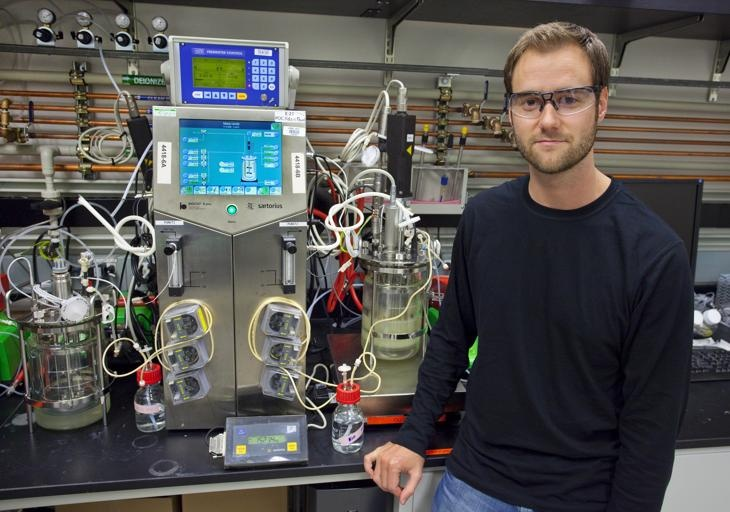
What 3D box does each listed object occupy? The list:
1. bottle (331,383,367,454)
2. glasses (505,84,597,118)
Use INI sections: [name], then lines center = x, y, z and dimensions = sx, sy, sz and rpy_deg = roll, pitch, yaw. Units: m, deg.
[bottle]
center = -0.070, 0.560, 2.014
dimensions = 0.129, 0.210, 0.123
rpy_deg = 5, -1, 0
[glasses]
center = 0.557, -0.452, 1.729
dimensions = 0.255, 0.084, 0.052
rpy_deg = 1, 7, 16
